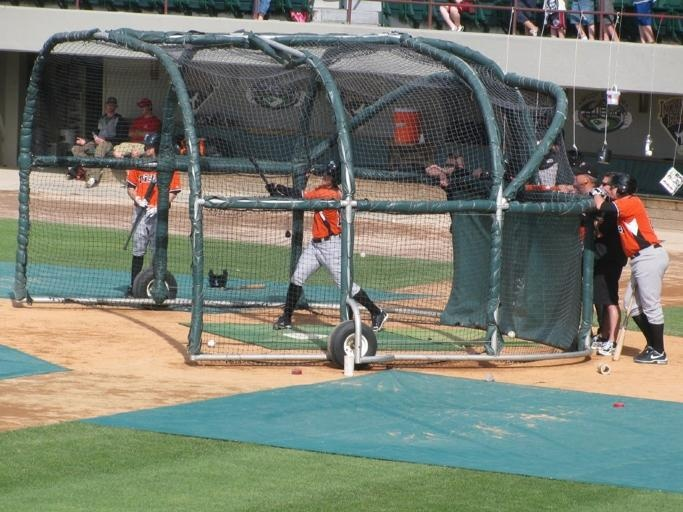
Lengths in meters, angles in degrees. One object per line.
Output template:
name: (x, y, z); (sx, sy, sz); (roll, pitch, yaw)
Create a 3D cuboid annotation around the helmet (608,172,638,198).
helmet: (3.266, -0.797, 13.360); (0.275, 0.273, 0.300); (0, 23, -28)

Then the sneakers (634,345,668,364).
sneakers: (3.570, 1.148, 13.341); (0.337, 0.145, 0.193); (2, -1, -2)

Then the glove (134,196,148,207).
glove: (-2.653, -0.717, 15.371); (0.147, 0.115, 0.282); (-2, 13, -18)

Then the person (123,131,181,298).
person: (-2.506, -0.569, 15.457); (0.685, 2.073, 0.911); (0, 13, -11)

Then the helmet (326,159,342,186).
helmet: (-0.089, -0.982, 13.906); (0.155, 0.277, 0.343); (2, 13, -2)

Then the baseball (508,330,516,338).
baseball: (1.999, 0.920, 13.550); (0.088, 0.067, 0.030); (4, 49, 10)

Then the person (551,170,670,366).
person: (3.387, 0.139, 13.390); (0.981, 2.132, 0.579); (5, 14, 12)

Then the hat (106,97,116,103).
hat: (-3.339, -2.265, 16.860); (0.119, 0.069, 0.151); (1, 4, -9)

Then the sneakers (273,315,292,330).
sneakers: (-0.707, 0.814, 14.188); (0.258, 0.151, 0.141); (2, 0, -1)

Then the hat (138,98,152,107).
hat: (-2.805, -2.147, 16.172); (0.265, 0.122, 0.189); (8, 7, 2)

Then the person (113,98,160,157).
person: (-2.899, -1.810, 16.369); (0.536, 0.749, 0.759); (6, 14, 27)

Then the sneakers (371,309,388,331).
sneakers: (0.473, 0.791, 13.908); (0.149, 0.309, 0.115); (36, -23, -18)

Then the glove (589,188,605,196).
glove: (2.960, -0.737, 13.373); (0.145, 0.061, 0.217); (1, 2, 12)

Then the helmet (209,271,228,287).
helmet: (-1.704, 0.326, 16.031); (0.263, 0.221, 0.140); (0, 1, -18)

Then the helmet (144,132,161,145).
helmet: (-2.516, -1.566, 15.448); (0.330, 0.118, 0.321); (0, 3, -10)

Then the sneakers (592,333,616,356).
sneakers: (3.145, 1.090, 13.913); (0.145, 0.154, 0.367); (3, -4, -12)
